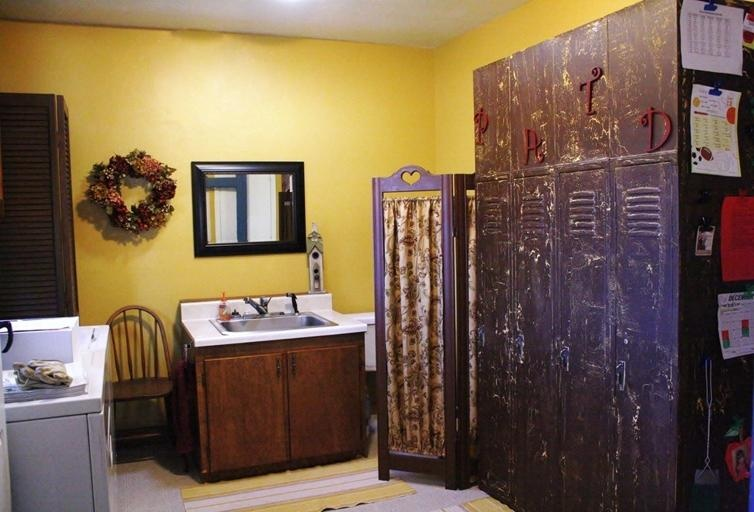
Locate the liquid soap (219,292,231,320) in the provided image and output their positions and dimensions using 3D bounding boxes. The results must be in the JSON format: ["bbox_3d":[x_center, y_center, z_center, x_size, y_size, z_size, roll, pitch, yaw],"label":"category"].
[{"bbox_3d":[-1.280,0.429,5.000,0.099,0.166,0.208,-3,9,-14],"label":"liquid soap"}]

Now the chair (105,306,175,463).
[{"bbox_3d":[-2.052,1.084,5.148,0.605,1.297,0.554,-4,1,-29],"label":"chair"}]

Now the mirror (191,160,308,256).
[{"bbox_3d":[-1.180,-0.433,5.292,0.787,0.717,0.065,-3,6,-19],"label":"mirror"}]

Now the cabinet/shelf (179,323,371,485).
[{"bbox_3d":[-0.818,1.057,4.838,1.329,1.133,0.753,-5,14,-28],"label":"cabinet/shelf"}]
